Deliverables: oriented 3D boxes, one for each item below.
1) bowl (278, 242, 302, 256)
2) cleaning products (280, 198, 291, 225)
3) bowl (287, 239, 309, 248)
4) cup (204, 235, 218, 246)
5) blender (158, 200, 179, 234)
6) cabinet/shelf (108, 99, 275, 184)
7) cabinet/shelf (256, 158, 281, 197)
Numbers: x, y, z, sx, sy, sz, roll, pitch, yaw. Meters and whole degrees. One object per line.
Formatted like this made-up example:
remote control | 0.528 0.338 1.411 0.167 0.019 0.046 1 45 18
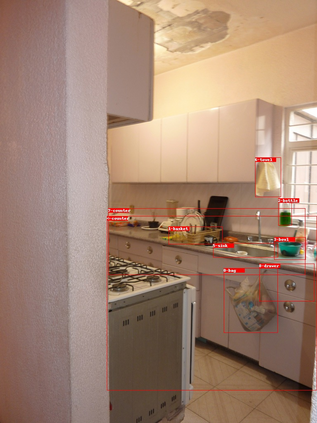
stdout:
bowl | 0.921 0.270 2.496 0.147 0.091 0.152 -1 6 0
cleaning products | 1.030 0.015 2.886 0.082 0.221 0.110 2 6 21
bowl | 1.045 0.233 2.614 0.080 0.029 0.077 -2 9 0
cup | 0.421 0.240 2.889 0.100 0.075 0.095 -1 6 0
blender | 0.095 0.059 3.557 0.188 0.306 0.428 0 6 4
cabinet/shelf | 0.201 -0.583 3.328 1.690 0.636 0.262 5 8 43
cabinet/shelf | 0.850 -0.261 2.767 0.179 0.279 0.129 1 6 15
